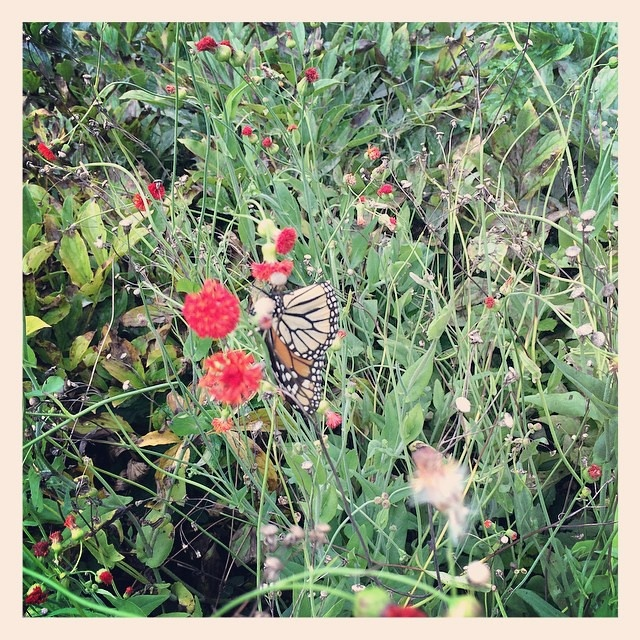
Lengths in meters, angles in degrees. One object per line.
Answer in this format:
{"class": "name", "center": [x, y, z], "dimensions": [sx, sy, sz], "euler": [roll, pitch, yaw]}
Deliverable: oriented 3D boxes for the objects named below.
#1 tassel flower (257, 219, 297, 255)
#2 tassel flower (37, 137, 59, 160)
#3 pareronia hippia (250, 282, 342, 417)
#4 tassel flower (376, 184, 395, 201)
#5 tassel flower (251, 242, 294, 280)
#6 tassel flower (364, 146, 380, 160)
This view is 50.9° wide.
{"class": "tassel flower", "center": [-0.051, -0.093, 0.722], "dimensions": [0.049, 0.031, 0.032], "euler": [32, 29, 36]}
{"class": "tassel flower", "center": [-0.395, -0.242, 0.990], "dimensions": [0.024, 0.029, 0.028], "euler": [-45, 22, -7]}
{"class": "pareronia hippia", "center": [-0.035, 0.033, 0.740], "dimensions": [0.044, 0.143, 0.103], "euler": [-9, -2, 35]}
{"class": "tassel flower", "center": [0.091, -0.179, 0.935], "dimensions": [0.019, 0.023, 0.019], "euler": [15, 28, 15]}
{"class": "tassel flower", "center": [-0.054, -0.048, 0.705], "dimensions": [0.033, 0.040, 0.035], "euler": [7, 47, -12]}
{"class": "tassel flower", "center": [0.077, -0.243, 0.982], "dimensions": [0.022, 0.024, 0.015], "euler": [19, 39, 40]}
